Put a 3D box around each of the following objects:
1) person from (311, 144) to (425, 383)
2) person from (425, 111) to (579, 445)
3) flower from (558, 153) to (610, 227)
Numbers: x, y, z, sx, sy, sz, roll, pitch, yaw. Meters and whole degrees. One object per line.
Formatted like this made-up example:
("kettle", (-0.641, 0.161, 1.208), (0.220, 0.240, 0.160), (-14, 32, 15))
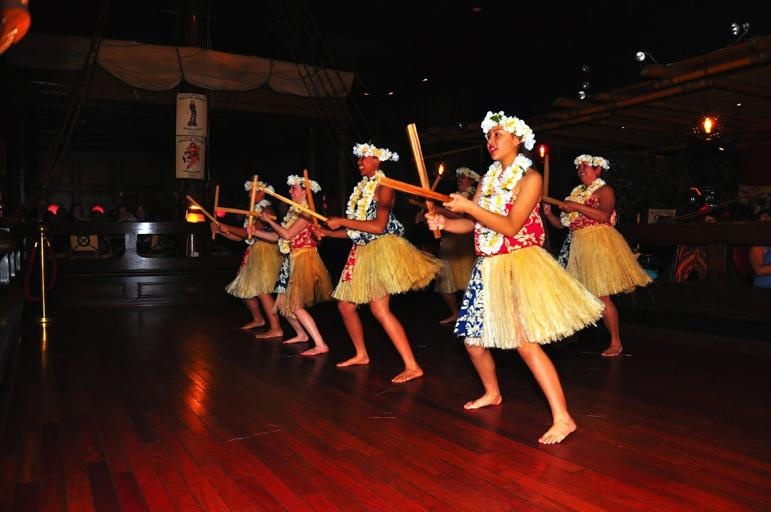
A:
("person", (-0.050, 0.022, 3.617), (0.781, 1.563, 0.686), (-2, 7, -7))
("person", (0.643, 0.083, 2.777), (0.860, 1.622, 0.556), (0, 7, 3))
("flower", (1.542, -0.526, 4.244), (0.422, 0.576, 0.235), (17, -1, 11))
